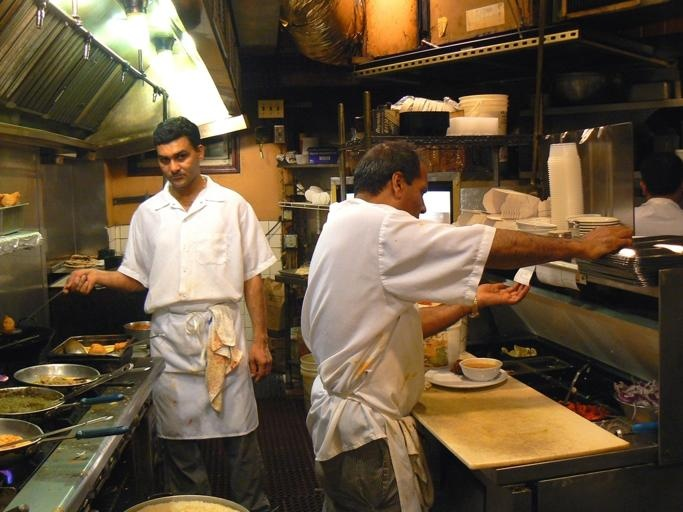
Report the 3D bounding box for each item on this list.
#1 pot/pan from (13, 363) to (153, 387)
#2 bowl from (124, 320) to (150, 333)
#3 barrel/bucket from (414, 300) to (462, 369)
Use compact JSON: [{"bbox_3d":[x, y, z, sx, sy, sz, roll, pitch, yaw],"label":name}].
[{"bbox_3d":[-1.253,0.539,2.472,0.314,0.044,0.180,6,1,-12],"label":"pot/pan"},{"bbox_3d":[-1.509,0.531,4.058,0.159,0.061,0.154,3,4,0],"label":"bowl"},{"bbox_3d":[0.450,0.381,2.851,0.318,0.331,0.313,-1,8,0],"label":"barrel/bucket"}]
